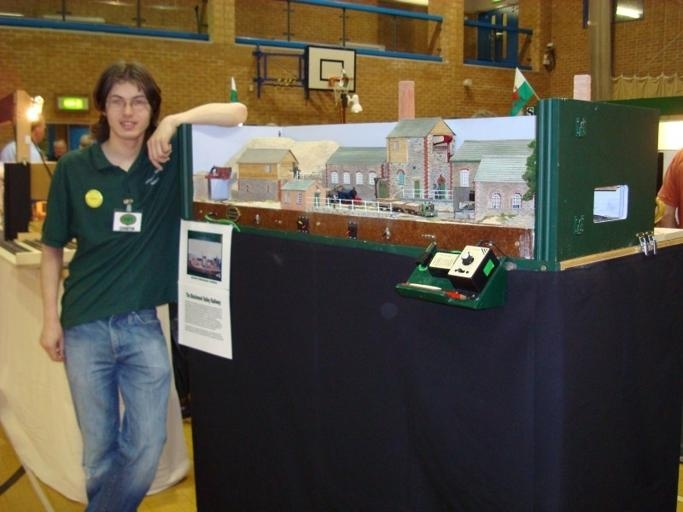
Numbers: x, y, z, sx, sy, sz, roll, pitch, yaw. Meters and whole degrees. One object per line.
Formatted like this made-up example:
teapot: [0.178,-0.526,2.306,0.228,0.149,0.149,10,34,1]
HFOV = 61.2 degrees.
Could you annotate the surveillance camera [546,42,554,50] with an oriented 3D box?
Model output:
surveillance camera: [5.424,-5.455,15.007,0.164,0.089,0.130,-1,7,16]

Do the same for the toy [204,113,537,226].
toy: [0.052,-0.328,2.078,1.360,0.318,0.366,8,15,34]
